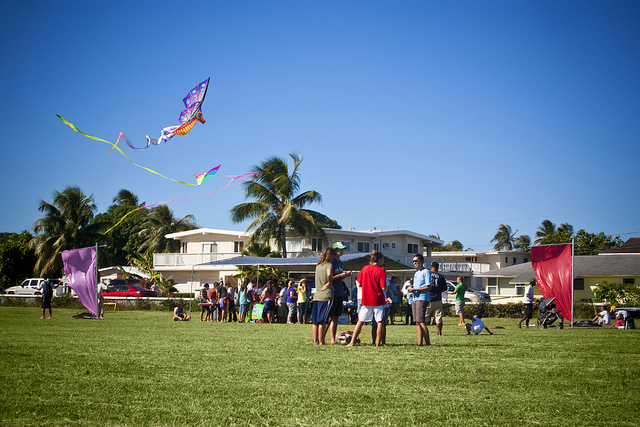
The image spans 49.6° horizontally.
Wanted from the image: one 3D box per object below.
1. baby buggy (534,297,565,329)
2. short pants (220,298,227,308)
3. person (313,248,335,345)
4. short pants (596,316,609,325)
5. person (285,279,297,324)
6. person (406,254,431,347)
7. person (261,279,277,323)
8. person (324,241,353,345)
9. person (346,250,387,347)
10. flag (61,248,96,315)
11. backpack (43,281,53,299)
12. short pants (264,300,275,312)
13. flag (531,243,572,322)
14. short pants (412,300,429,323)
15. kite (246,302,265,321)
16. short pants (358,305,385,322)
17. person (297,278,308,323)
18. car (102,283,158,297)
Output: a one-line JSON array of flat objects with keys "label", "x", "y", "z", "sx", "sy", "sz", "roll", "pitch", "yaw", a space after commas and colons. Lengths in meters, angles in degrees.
[{"label": "baby buggy", "x": 8.199, "y": 3.505, "z": 24.534, "sx": 0.736, "sy": 1.215, "sz": 0.909, "roll": -4, "pitch": 1, "yaw": -38}, {"label": "short pants", "x": -3.857, "y": 3.617, "z": 27.799, "sx": 0.217, "sy": 0.466, "sz": 0.297, "roll": -3, "pitch": -1, "yaw": -1}, {"label": "person", "x": 0.127, "y": 2.044, "z": 16.954, "sx": 0.554, "sy": 2.339, "sz": 0.630, "roll": 7, "pitch": -9, "yaw": -28}, {"label": "short pants", "x": 10.732, "y": 4.097, "z": 26.353, "sx": 0.373, "sy": 0.151, "sz": 0.401, "roll": 11, "pitch": 8, "yaw": 1}, {"label": "person", "x": -1.125, "y": 3.510, "z": 27.425, "sx": 0.410, "sy": 1.727, "sz": 0.964, "roll": 0, "pitch": -9, "yaw": -5}, {"label": "person", "x": 2.480, "y": 2.170, "z": 17.411, "sx": 0.524, "sy": 2.355, "sz": 1.124, "roll": -1, "pitch": -9, "yaw": 7}, {"label": "person", "x": -2.001, "y": 3.513, "z": 27.510, "sx": 0.434, "sy": 1.634, "sz": 0.492, "roll": 2, "pitch": -9, "yaw": -16}, {"label": "person", "x": 0.416, "y": 1.930, "z": 17.018, "sx": 0.616, "sy": 2.407, "sz": 0.680, "roll": 2, "pitch": 6, "yaw": 31}, {"label": "person", "x": 1.128, "y": 2.025, "z": 16.797, "sx": 0.869, "sy": 2.490, "sz": 0.908, "roll": 1, "pitch": 10, "yaw": -5}, {"label": "flag", "x": -8.487, "y": 2.405, "z": 24.876, "sx": 1.422, "sy": 2.168, "sz": 1.248, "roll": -3, "pitch": -9, "yaw": 18}, {"label": "backpack", "x": -10.483, "y": 2.984, "z": 26.731, "sx": 0.249, "sy": 0.691, "sz": 0.504, "roll": -5, "pitch": -10, "yaw": 27}, {"label": "short pants", "x": -2.014, "y": 3.619, "z": 27.434, "sx": 0.332, "sy": 0.702, "sz": 0.493, "roll": -3, "pitch": -6, "yaw": 36}, {"label": "flag", "x": 8.251, "y": 2.590, "z": 24.558, "sx": 1.370, "sy": 3.205, "sz": 0.223, "roll": -4, "pitch": 24, "yaw": 13}, {"label": "short pants", "x": 2.469, "y": 2.433, "z": 17.087, "sx": 0.389, "sy": 0.553, "sz": 0.367, "roll": -2, "pitch": -9, "yaw": 9}, {"label": "kite", "x": -2.573, "y": 3.954, "z": 27.725, "sx": 0.664, "sy": 0.775, "sz": 0.079, "roll": 1, "pitch": -2, "yaw": 23}, {"label": "short pants", "x": 1.215, "y": 2.414, "z": 16.486, "sx": 0.574, "sy": 0.391, "sz": 0.608, "roll": -3, "pitch": 19, "yaw": 11}, {"label": "person", "x": -0.679, "y": 3.471, "z": 27.254, "sx": 0.375, "sy": 1.680, "sz": 0.906, "roll": 0, "pitch": -9, "yaw": -2}, {"label": "car", "x": -13.673, "y": 5.631, "z": 50.067, "sx": 3.149, "sy": 1.296, "sz": 1.558, "roll": 3, "pitch": -3, "yaw": 17}]
